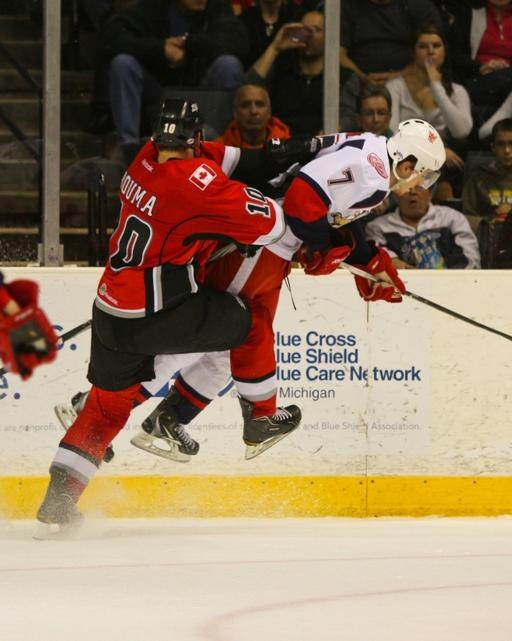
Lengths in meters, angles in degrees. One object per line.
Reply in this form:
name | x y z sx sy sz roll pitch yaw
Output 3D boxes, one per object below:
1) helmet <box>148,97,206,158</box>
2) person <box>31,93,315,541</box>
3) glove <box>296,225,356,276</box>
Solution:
helmet | -0.256 -0.712 3.028 0.195 0.199 0.167 3 -36 4
person | -0.354 0.004 3.116 0.552 1.592 0.772 4 -5 -34
glove | 0.255 -0.269 3.128 0.227 0.089 0.165 -23 -5 35
